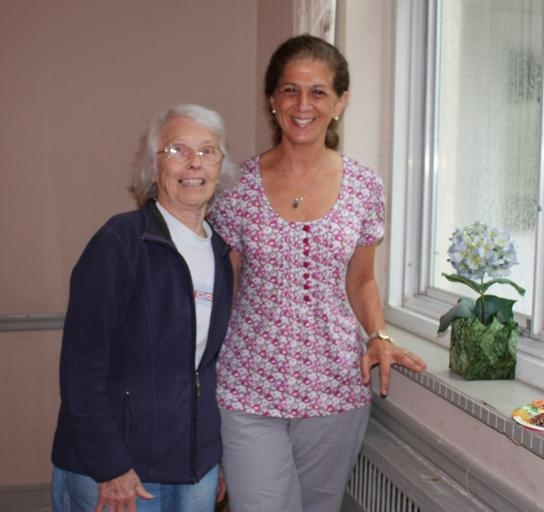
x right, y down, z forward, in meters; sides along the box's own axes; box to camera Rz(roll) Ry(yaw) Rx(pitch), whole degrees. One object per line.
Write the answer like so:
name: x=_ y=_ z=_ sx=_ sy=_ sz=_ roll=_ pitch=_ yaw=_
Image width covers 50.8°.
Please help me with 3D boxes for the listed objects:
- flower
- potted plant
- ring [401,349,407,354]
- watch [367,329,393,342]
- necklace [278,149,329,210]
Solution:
flower: x=0.581 y=0.043 z=1.604 sx=0.197 sy=0.235 sz=0.246 roll=6 pitch=-6 yaw=0
potted plant: x=0.587 y=0.213 z=1.637 sx=0.219 sy=0.251 sz=0.227 roll=5 pitch=4 yaw=31
ring: x=0.392 y=0.286 z=1.707 sx=0.020 sy=0.005 sz=0.021 roll=12 pitch=8 yaw=-2
watch: x=0.326 y=0.246 z=1.741 sx=0.040 sy=0.021 sz=0.041 roll=-5 pitch=10 yaw=28
necklace: x=0.080 y=-0.201 z=1.717 sx=0.154 sy=0.178 sz=0.040 roll=0 pitch=-12 yaw=-5
